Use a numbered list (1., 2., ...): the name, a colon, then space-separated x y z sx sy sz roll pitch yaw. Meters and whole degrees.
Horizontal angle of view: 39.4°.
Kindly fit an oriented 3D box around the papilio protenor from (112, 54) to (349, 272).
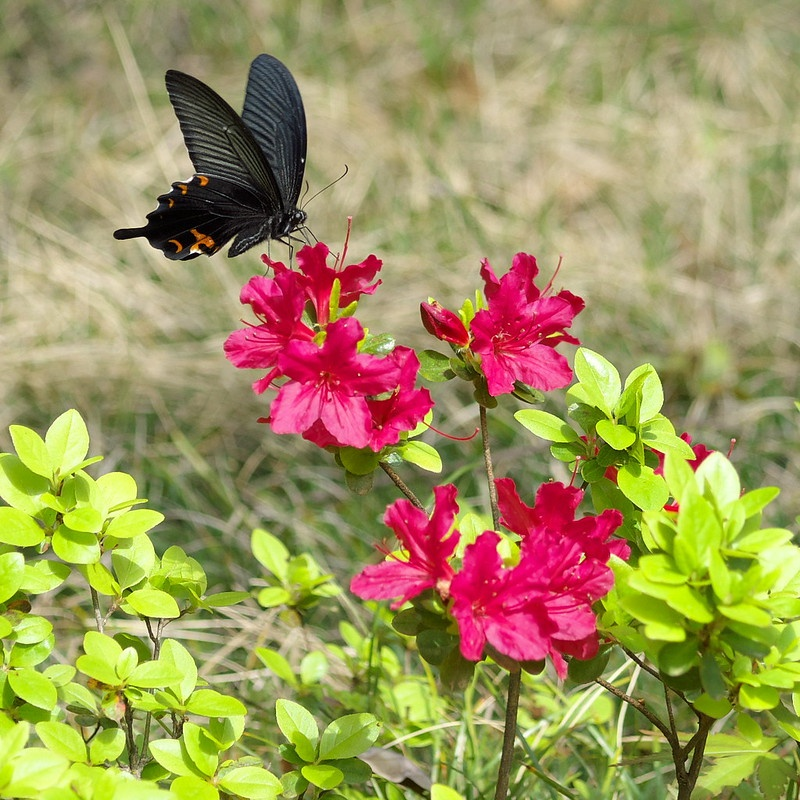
1. papilio protenor: -0.670 -0.870 4.069 0.716 0.683 0.320 -11 16 0

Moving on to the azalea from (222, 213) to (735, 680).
1. azalea: 0.235 0.169 3.004 1.102 1.270 0.860 -14 15 -10
